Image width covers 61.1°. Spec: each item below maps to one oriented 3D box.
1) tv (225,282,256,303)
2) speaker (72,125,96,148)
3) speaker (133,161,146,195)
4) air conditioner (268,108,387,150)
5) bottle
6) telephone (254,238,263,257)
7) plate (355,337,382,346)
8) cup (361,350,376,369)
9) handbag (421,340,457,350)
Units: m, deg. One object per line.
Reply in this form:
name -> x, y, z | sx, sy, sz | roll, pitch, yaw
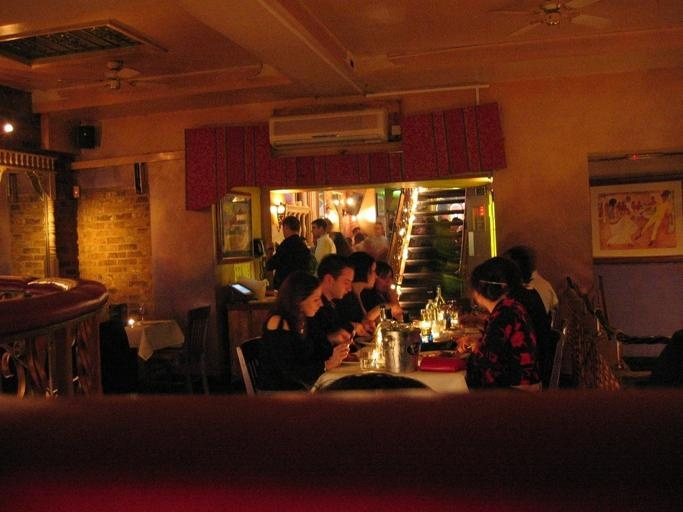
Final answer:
tv -> -1.100, 0.415, 6.357 | 0.207, 0.190, 0.210 | -11, -2, 19
speaker -> -2.903, -1.354, 6.573 | 0.243, 0.237, 0.133 | 1, 11, -2
speaker -> -2.213, -0.860, 6.427 | 0.111, 0.340, 0.096 | -8, -6, 39
air conditioner -> -0.117, -1.234, 5.687 | 1.160, 0.333, 0.220 | -5, -5, 14
bottle -> 0.389, 0.399, 2.907 | 0.406, 0.389, 0.289 | 0, -5, 8
telephone -> -1.014, -0.091, 7.147 | 0.108, 0.120, 0.193 | -6, -17, 1
plate -> 0.157, 0.527, 3.564 | 0.126, 0.037, 0.119 | 6, -7, -27
cup -> 0.138, 0.534, 2.963 | 0.066, 0.061, 0.057 | 7, -8, -38
handbag -> 0.556, 0.513, 3.278 | 0.096, 0.024, 0.105 | 0, 1, 32
